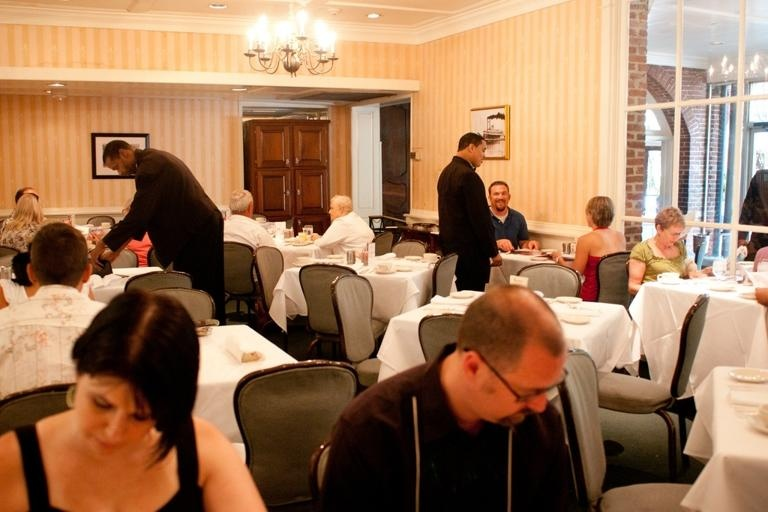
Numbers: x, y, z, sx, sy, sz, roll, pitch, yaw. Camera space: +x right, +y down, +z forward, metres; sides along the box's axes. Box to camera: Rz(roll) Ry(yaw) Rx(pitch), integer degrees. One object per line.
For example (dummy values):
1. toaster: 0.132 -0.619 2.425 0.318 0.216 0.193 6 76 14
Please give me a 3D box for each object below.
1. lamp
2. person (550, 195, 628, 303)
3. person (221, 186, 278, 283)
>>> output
1. lamp: -1.158 -2.616 7.430 1.090 0.937 1.134 3 14 7
2. person: 1.986 -0.010 6.000 0.585 1.251 0.644 -22 28 -31
3. person: -1.613 -0.365 7.162 0.789 0.723 0.457 5 14 22
